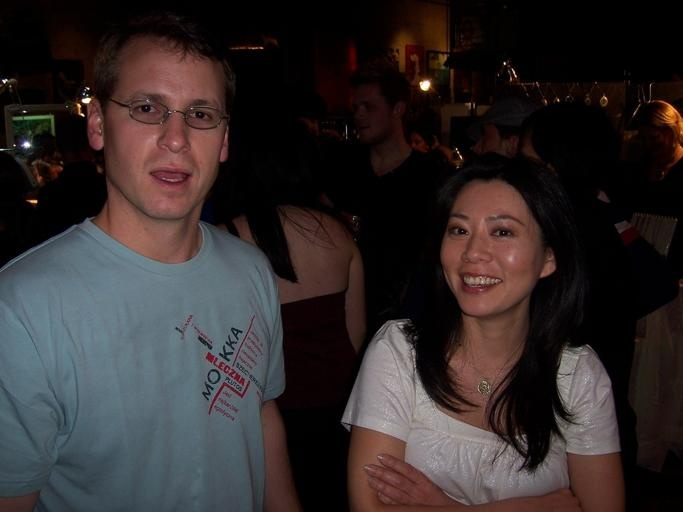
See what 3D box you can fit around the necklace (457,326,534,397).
[{"bbox_3d":[0.619,0.468,2.476,0.227,0.341,0.097,2,4,-4],"label":"necklace"}]
